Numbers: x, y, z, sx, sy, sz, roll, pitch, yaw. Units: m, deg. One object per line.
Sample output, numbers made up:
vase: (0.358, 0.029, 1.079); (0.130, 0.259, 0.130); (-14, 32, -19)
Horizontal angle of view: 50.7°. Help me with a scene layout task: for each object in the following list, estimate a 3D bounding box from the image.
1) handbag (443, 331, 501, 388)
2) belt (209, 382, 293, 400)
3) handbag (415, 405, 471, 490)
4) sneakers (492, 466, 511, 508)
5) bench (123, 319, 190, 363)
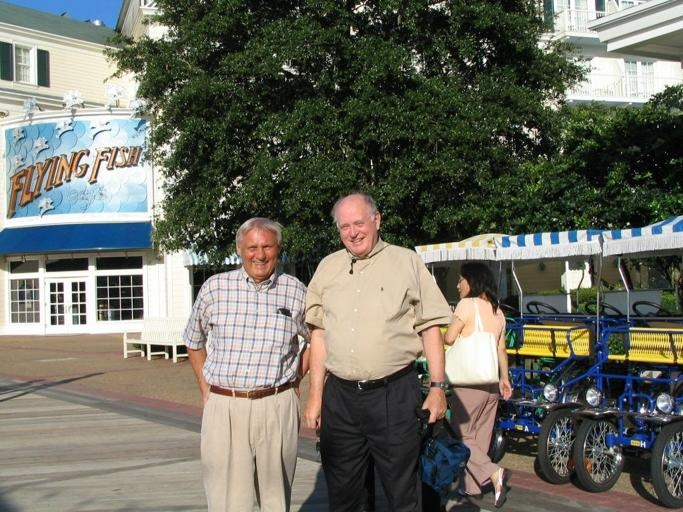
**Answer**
handbag: (1.322, 1.052, 7.330); (0.568, 0.658, 0.240); (1, 5, 28)
belt: (-0.731, 1.079, 5.783); (0.652, 0.129, 0.153); (-3, -4, -3)
handbag: (0.796, 1.528, 5.749); (0.459, 0.681, 0.264); (-2, -4, -18)
sneakers: (1.662, 2.372, 7.422); (0.158, 0.485, 0.178); (4, 8, 9)
bench: (-4.912, 2.197, 19.236); (2.004, 1.139, 0.714); (-2, -3, 34)
